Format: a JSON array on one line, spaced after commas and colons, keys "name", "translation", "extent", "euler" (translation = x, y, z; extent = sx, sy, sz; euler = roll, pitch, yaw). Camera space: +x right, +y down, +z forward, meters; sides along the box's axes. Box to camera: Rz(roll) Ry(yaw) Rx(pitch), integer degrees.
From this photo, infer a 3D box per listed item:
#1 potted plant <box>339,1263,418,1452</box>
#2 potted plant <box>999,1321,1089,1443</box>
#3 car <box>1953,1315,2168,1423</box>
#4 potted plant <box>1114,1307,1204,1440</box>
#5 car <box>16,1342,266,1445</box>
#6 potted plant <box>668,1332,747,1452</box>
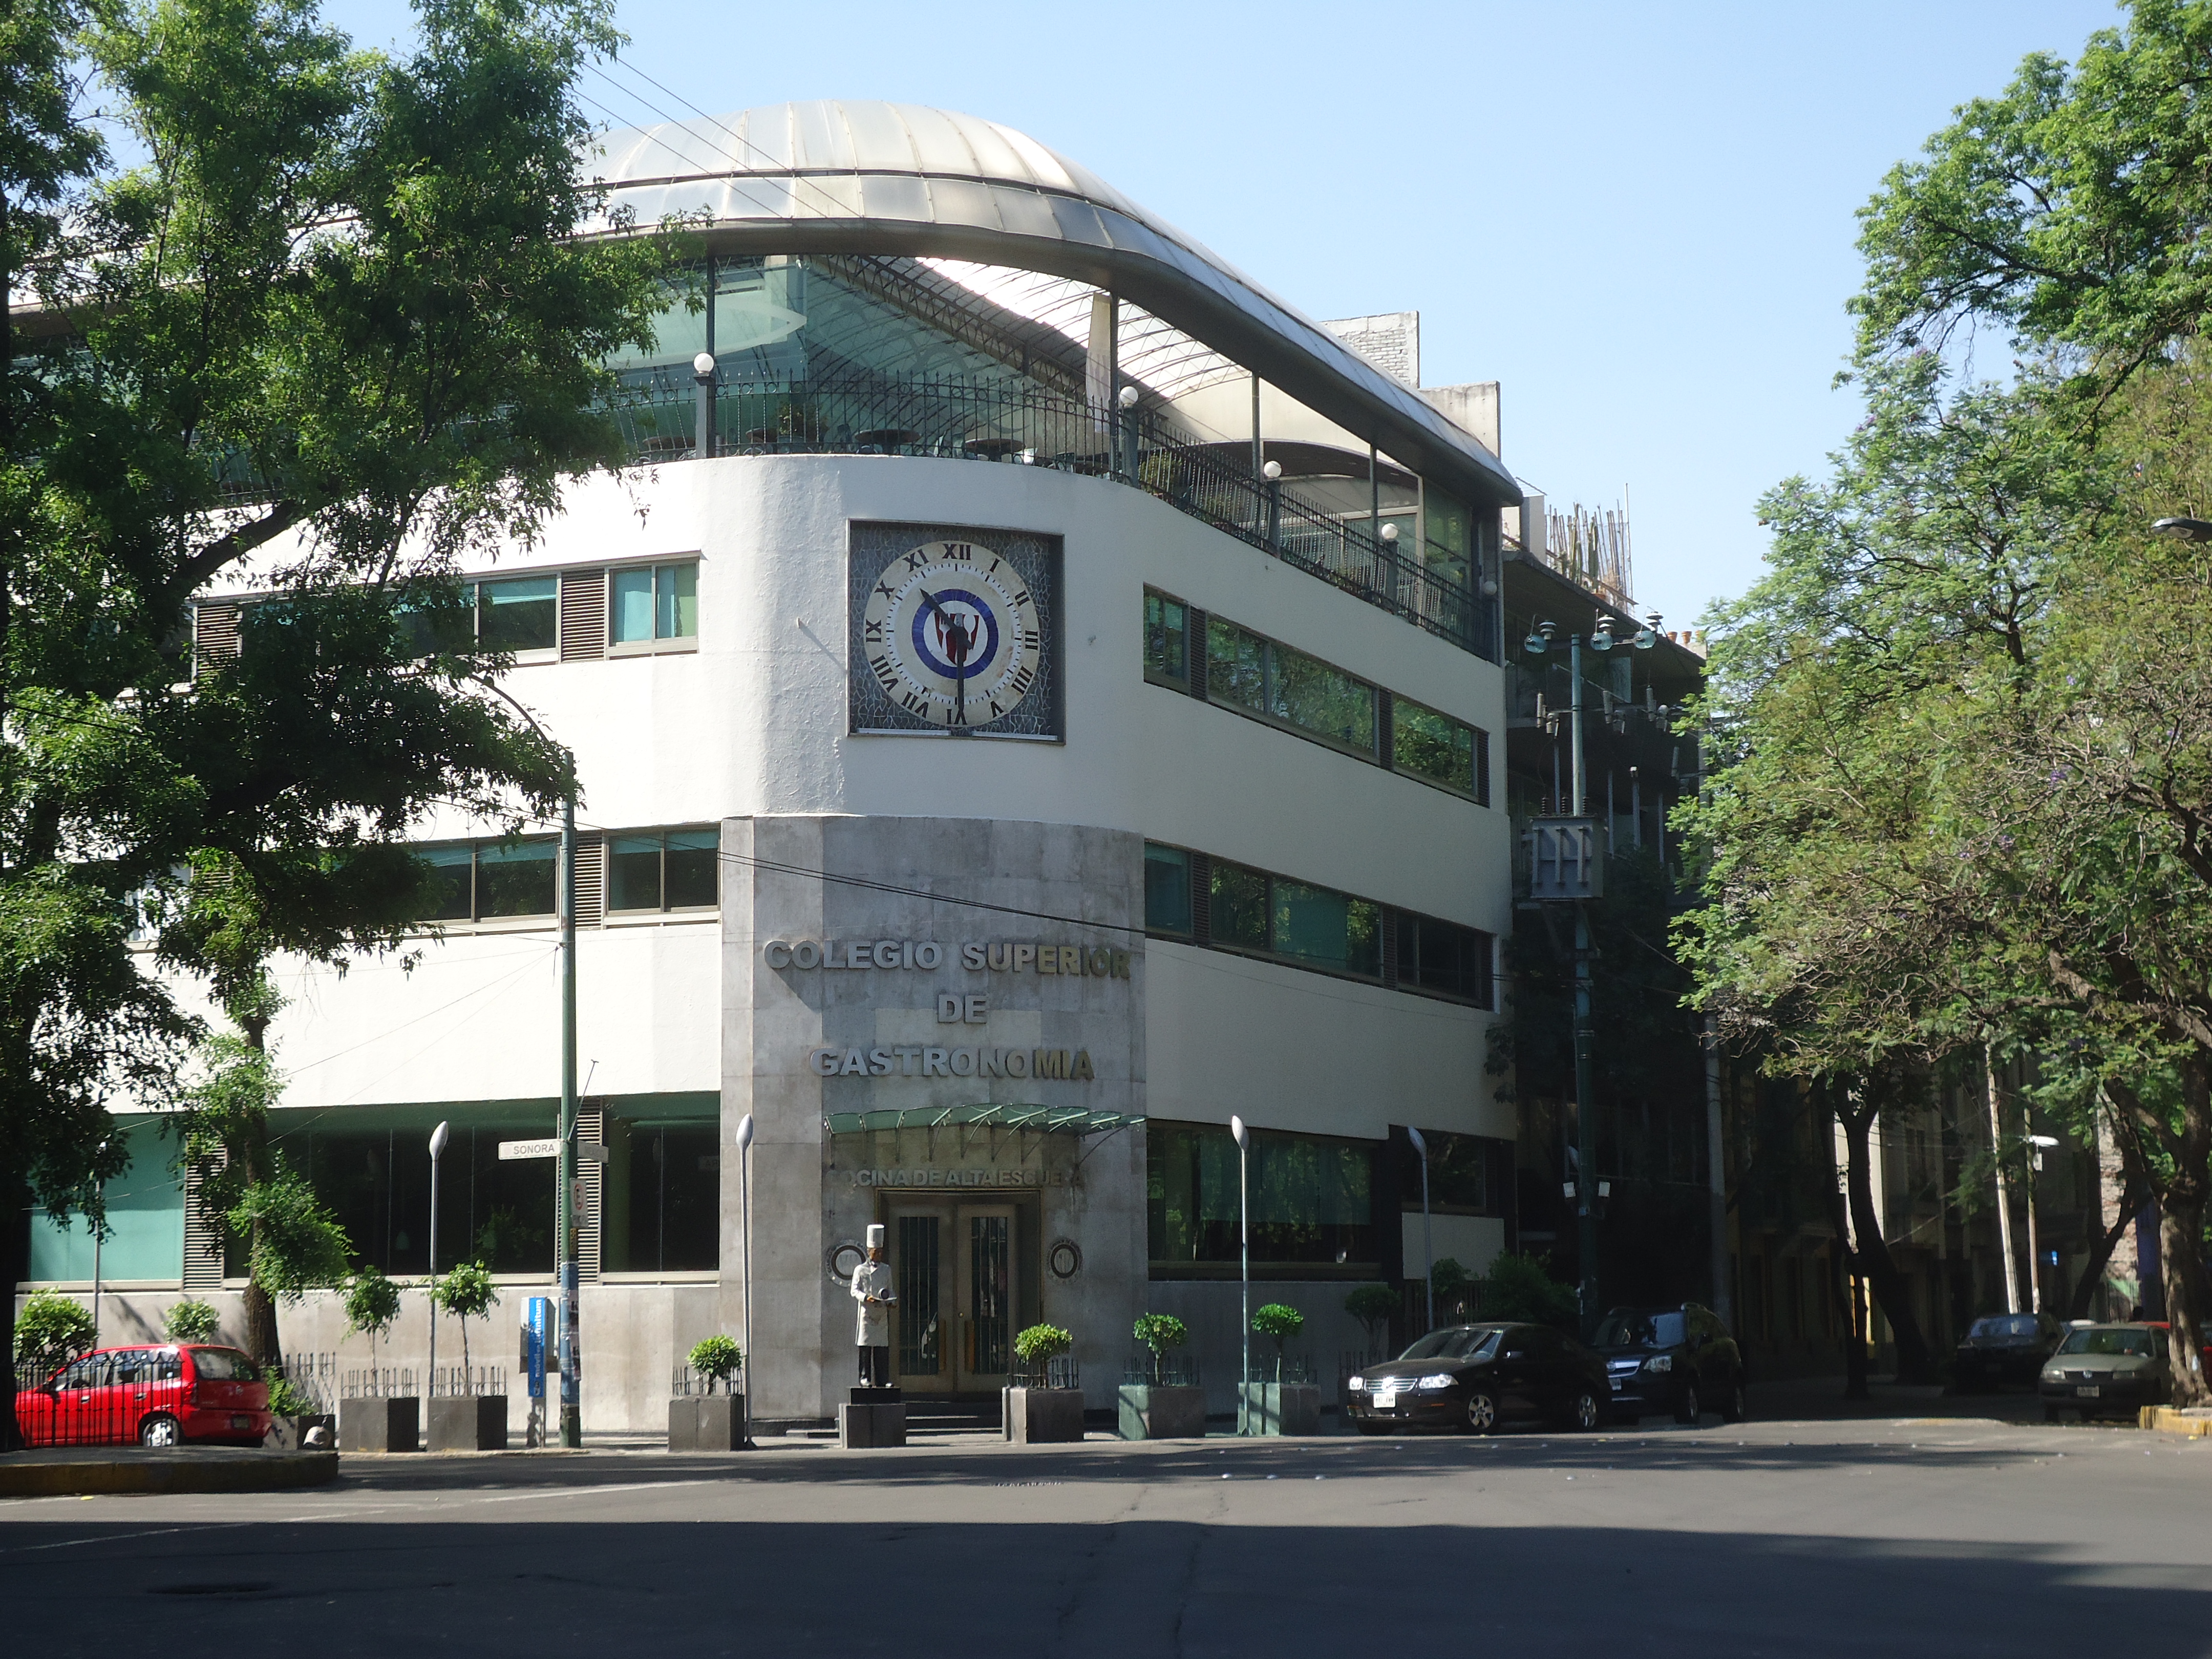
[{"name": "potted plant", "translation": [-11.256, 8.039, 59.013], "extent": [1.014, 2.746, 1.077], "euler": [0, 11, 40]}, {"name": "potted plant", "translation": [-0.873, 8.233, 56.605], "extent": [1.135, 1.682, 1.145], "euler": [-10, -15, 38]}, {"name": "car", "translation": [17.498, 9.844, 69.574], "extent": [2.641, 1.953, 4.430], "euler": [-7, -13, 31]}, {"name": "potted plant", "translation": [0.746, 8.464, 59.400], "extent": [1.496, 2.866, 1.429], "euler": [3, -15, -11]}, {"name": "car", "translation": [-14.606, 8.353, 57.602], "extent": [3.339, 1.745, 1.725], "euler": [-1, -9, 8]}, {"name": "potted plant", "translation": [-5.835, 8.163, 56.176], "extent": [0.828, 1.695, 1.692], "euler": [3, -4, 3]}]
